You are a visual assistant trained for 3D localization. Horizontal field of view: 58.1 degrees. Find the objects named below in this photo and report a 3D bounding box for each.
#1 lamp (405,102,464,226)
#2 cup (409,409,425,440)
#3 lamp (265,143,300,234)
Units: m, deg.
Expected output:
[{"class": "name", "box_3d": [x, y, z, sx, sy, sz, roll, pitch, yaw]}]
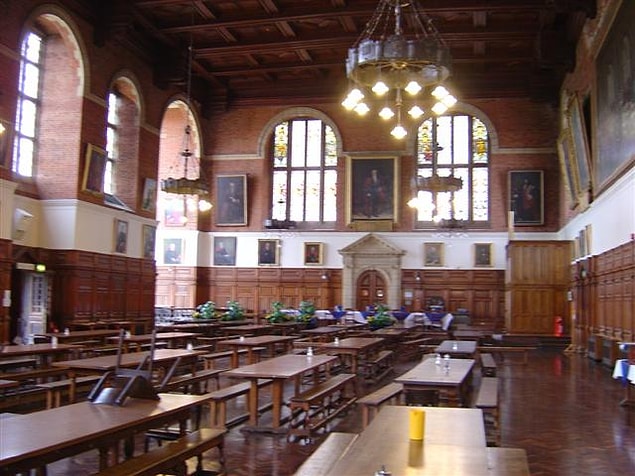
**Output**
[{"class": "lamp", "box_3d": [3.897, -2.168, 18.619, 1.895, 3.146, 1.534, -5, 13, -19]}, {"class": "cup", "box_3d": [0.967, 1.821, 5.576, 0.145, 0.288, 0.132, -2, -8, 3]}, {"class": "lamp", "box_3d": [-1.654, -1.768, 26.202, 1.310, 2.892, 1.031, -1, -8, -2]}]
